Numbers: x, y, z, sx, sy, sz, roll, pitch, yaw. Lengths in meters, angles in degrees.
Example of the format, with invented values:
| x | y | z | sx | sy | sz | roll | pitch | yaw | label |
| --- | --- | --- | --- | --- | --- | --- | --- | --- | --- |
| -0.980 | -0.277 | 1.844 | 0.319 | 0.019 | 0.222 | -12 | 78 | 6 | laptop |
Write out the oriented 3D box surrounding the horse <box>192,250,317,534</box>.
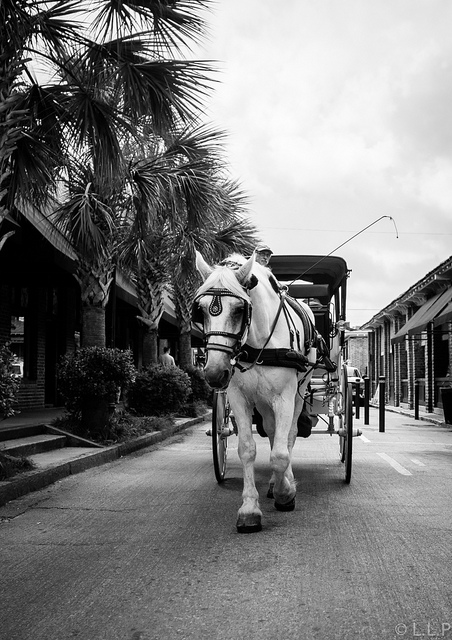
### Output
| x | y | z | sx | sy | sz | roll | pitch | yaw | label |
| --- | --- | --- | --- | --- | --- | --- | --- | --- | --- |
| 0.246 | 0.480 | 4.635 | 0.702 | 2.134 | 2.040 | -1 | -6 | 16 | horse |

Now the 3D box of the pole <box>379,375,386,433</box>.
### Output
| x | y | z | sx | sy | sz | roll | pitch | yaw | label |
| --- | --- | --- | --- | --- | --- | --- | --- | --- | --- |
| 3.741 | 2.036 | 14.115 | 0.116 | 1.313 | 0.646 | -1 | -5 | 14 | pole |

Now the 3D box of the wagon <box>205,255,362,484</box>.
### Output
| x | y | z | sx | sy | sz | roll | pitch | yaw | label |
| --- | --- | --- | --- | --- | --- | --- | --- | --- | --- |
| 0.849 | 0.630 | 8.761 | 1.708 | 3.337 | 3.368 | 3 | 1 | 5 | wagon |
